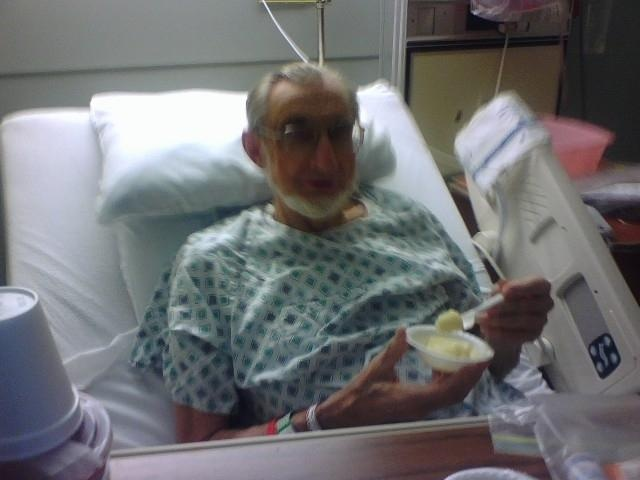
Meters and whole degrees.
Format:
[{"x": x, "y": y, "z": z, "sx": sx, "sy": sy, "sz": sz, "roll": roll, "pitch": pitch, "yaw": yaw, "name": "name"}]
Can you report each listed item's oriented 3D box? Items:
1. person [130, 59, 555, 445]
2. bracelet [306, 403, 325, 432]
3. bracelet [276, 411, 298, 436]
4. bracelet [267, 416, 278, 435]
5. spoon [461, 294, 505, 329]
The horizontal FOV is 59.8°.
[{"x": 0.044, "y": 0.016, "z": 1.318, "sx": 0.958, "sy": 0.876, "sz": 0.558, "roll": -11, "pitch": 11, "yaw": -27, "name": "person"}, {"x": -0.010, "y": 0.356, "z": 1.115, "sx": 0.030, "sy": 0.017, "sz": 0.041, "roll": -3, "pitch": 53, "yaw": -35, "name": "bracelet"}, {"x": -0.066, "y": 0.374, "z": 1.129, "sx": 0.029, "sy": 0.042, "sz": 0.038, "roll": -3, "pitch": -18, "yaw": 33, "name": "bracelet"}, {"x": -0.099, "y": 0.380, "z": 1.141, "sx": 0.022, "sy": 0.023, "sz": 0.023, "roll": -3, "pitch": 35, "yaw": -12, "name": "bracelet"}, {"x": 0.335, "y": 0.147, "z": 1.167, "sx": 0.099, "sy": 0.019, "sz": 0.054, "roll": -44, "pitch": 19, "yaw": -5, "name": "spoon"}]
